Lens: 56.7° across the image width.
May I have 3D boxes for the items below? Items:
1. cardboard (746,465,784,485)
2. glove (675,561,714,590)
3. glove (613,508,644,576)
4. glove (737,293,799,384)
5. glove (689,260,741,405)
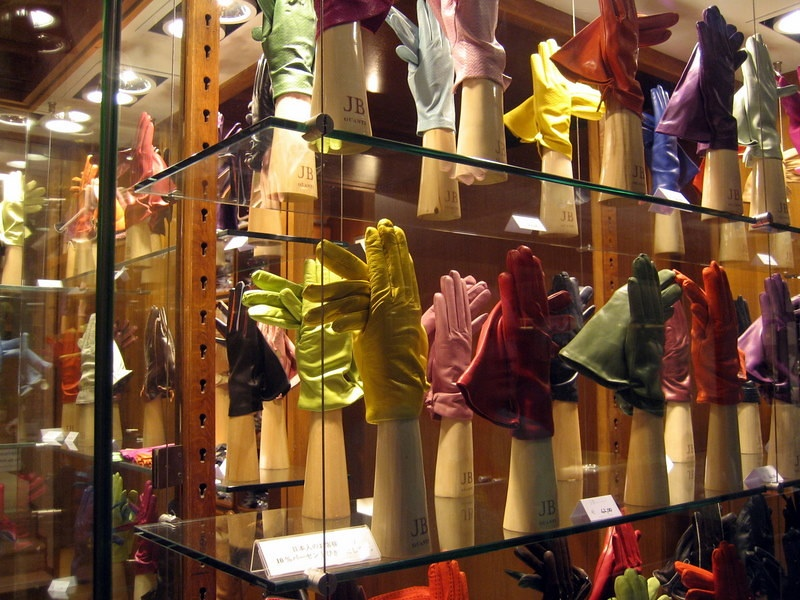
[{"bbox_3d":[0.854,0.403,1.738,0.074,0.030,0.059,-6,7,-22],"label":"cardboard"},{"bbox_3d":[0.711,0.665,1.791,0.046,0.016,0.052,18,22,-9],"label":"glove"},{"bbox_3d":[0.555,0.608,1.820,0.063,0.032,0.123,-9,35,13],"label":"glove"},{"bbox_3d":[0.877,0.092,1.774,0.122,0.212,0.052,5,-2,-19],"label":"glove"},{"bbox_3d":[0.734,0.081,1.715,0.181,0.324,0.059,2,-7,-34],"label":"glove"}]
